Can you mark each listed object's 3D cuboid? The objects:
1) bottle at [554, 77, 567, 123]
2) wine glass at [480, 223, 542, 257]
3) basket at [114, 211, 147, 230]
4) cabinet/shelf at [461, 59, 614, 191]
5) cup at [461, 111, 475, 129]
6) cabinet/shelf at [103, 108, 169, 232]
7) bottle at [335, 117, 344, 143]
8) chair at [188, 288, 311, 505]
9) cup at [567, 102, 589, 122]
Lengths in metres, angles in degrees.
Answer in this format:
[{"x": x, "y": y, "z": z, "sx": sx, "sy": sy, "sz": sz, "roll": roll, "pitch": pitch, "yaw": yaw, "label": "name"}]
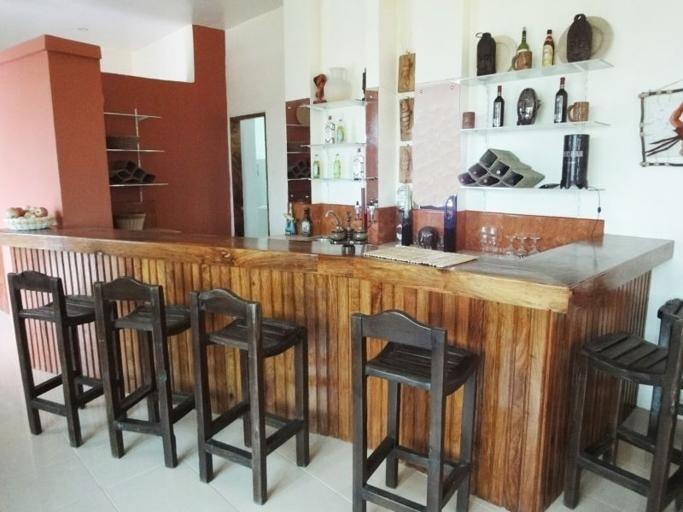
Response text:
[{"x": 1.831, "y": -1.287, "z": 4.608, "sx": 0.109, "sy": 0.375, "sz": 0.251, "roll": 4, "pitch": 16, "yaw": 19, "label": "bottle"}, {"x": 1.524, "y": -0.130, "z": 5.083, "sx": 0.173, "sy": 0.260, "sz": 0.576, "roll": -12, "pitch": 17, "yaw": -36, "label": "wine glass"}, {"x": -2.403, "y": -0.407, "z": 6.324, "sx": 0.349, "sy": 0.238, "sz": 0.335, "roll": -6, "pitch": 14, "yaw": -29, "label": "basket"}, {"x": 1.722, "y": -1.108, "z": 4.732, "sx": 1.198, "sy": 0.774, "sz": 0.383, "roll": 11, "pitch": 23, "yaw": 37, "label": "cabinet/shelf"}, {"x": 1.166, "y": -1.239, "z": 5.088, "sx": 0.151, "sy": 0.158, "sz": 0.147, "roll": 0, "pitch": 9, "yaw": 0, "label": "cup"}, {"x": -2.542, "y": -1.058, "z": 6.854, "sx": 0.617, "sy": 1.490, "sz": 0.959, "roll": -3, "pitch": 15, "yaw": -9, "label": "cabinet/shelf"}, {"x": -0.022, "y": -1.364, "z": 6.050, "sx": 0.079, "sy": 0.254, "sz": 0.140, "roll": -14, "pitch": 20, "yaw": -40, "label": "bottle"}, {"x": -0.587, "y": 0.823, "z": 3.606, "sx": 0.754, "sy": 1.306, "sz": 0.727, "roll": -2, "pitch": 15, "yaw": -4, "label": "chair"}, {"x": 1.925, "y": -1.167, "z": 4.509, "sx": 0.156, "sy": 0.159, "sz": 0.166, "roll": -1, "pitch": 14, "yaw": 0, "label": "cup"}]
